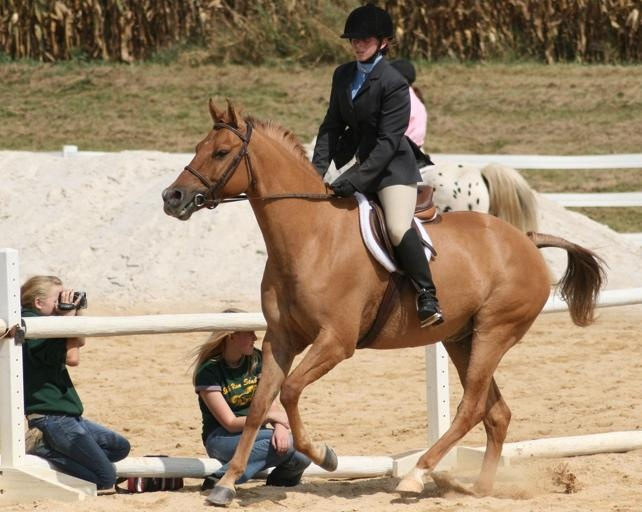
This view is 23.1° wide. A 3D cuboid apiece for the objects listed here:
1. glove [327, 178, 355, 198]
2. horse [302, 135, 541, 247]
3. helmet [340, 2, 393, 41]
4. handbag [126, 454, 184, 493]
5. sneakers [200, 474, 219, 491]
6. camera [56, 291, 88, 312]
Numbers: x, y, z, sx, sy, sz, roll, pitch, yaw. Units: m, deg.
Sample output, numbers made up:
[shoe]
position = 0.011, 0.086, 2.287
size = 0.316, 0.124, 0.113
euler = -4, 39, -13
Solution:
[glove]
position = 0.272, -0.849, 19.261
size = 0.323, 0.229, 0.148
euler = -3, 5, 0
[horse]
position = 2.009, -0.854, 24.215
size = 2.372, 1.535, 0.583
euler = 12, 20, 37
[helmet]
position = 0.585, -2.910, 19.364
size = 0.551, 0.336, 0.419
euler = 0, 3, -41
[handbag]
position = -2.084, 2.676, 19.570
size = 0.591, 0.213, 0.447
euler = -1, -2, -11
[sneakers]
position = -1.383, 2.780, 19.410
size = 0.186, 0.174, 0.188
euler = 32, 23, 23
[camera]
position = -3.062, 0.532, 19.348
size = 0.258, 0.141, 0.254
euler = 0, 1, 12
